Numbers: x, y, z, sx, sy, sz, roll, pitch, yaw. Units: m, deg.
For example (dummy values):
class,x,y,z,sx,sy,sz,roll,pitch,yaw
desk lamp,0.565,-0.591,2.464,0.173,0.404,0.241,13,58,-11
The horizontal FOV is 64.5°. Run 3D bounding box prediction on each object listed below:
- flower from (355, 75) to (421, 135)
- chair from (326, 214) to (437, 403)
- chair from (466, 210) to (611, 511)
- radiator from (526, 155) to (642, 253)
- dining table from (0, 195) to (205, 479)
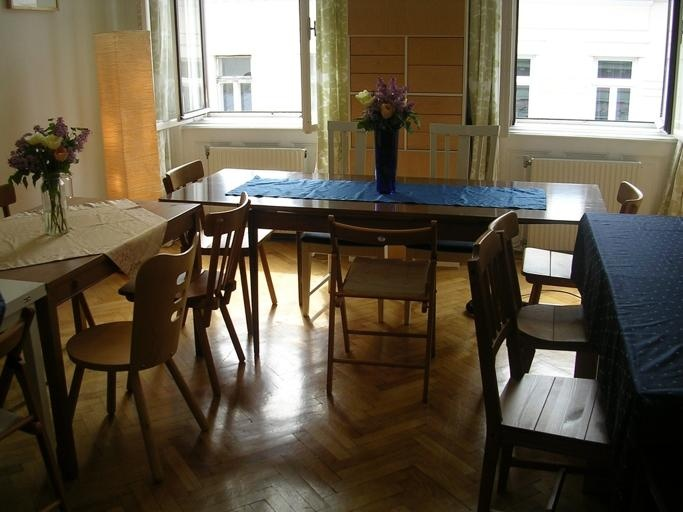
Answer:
class,x,y,z,sx,sy,sz,roll,pitch,yaw
flower,0.259,-0.867,3.359,0.418,0.429,0.432,2,13,22
chair,0.214,0.170,3.039,0.651,0.971,0.840,1,17,9
chair,0.803,0.440,2.198,0.385,0.771,1.028,0,24,19
radiator,2.011,-0.471,4.595,0.844,0.859,0.205,3,3,9
dining table,-1.075,0.388,2.459,0.589,0.756,1.006,8,23,19
